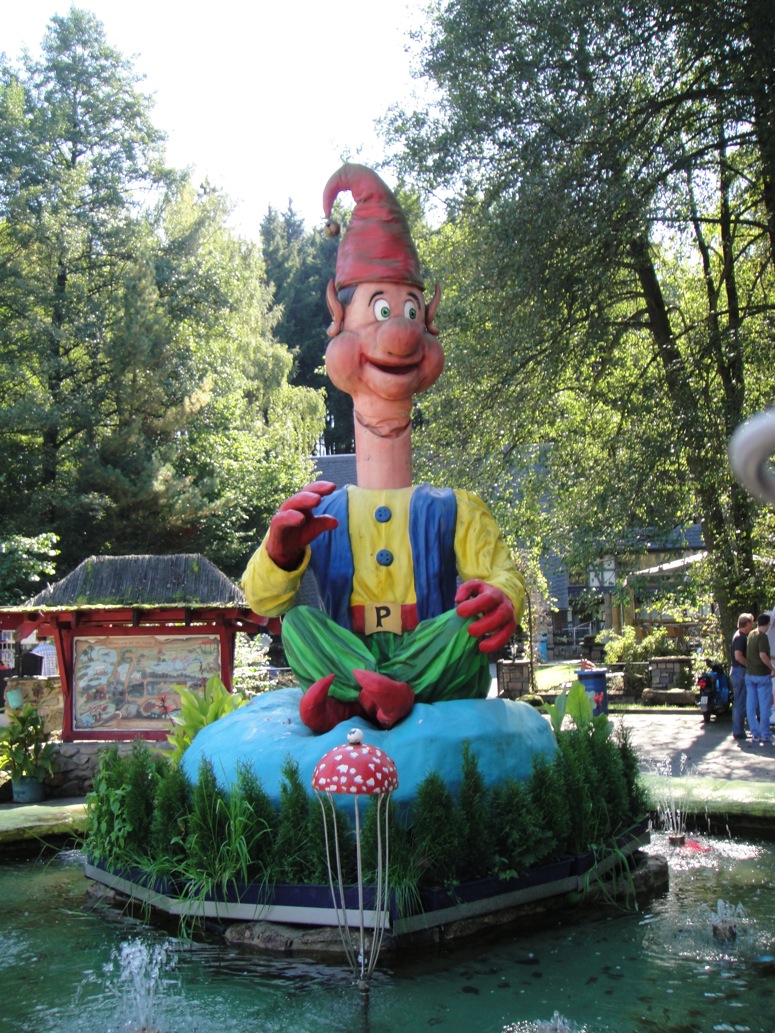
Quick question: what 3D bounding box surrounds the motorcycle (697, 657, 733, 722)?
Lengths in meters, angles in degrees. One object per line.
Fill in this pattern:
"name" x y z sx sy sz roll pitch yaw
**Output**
"motorcycle" 4.521 2.458 14.340 0.404 0.585 0.928 -6 -7 19
